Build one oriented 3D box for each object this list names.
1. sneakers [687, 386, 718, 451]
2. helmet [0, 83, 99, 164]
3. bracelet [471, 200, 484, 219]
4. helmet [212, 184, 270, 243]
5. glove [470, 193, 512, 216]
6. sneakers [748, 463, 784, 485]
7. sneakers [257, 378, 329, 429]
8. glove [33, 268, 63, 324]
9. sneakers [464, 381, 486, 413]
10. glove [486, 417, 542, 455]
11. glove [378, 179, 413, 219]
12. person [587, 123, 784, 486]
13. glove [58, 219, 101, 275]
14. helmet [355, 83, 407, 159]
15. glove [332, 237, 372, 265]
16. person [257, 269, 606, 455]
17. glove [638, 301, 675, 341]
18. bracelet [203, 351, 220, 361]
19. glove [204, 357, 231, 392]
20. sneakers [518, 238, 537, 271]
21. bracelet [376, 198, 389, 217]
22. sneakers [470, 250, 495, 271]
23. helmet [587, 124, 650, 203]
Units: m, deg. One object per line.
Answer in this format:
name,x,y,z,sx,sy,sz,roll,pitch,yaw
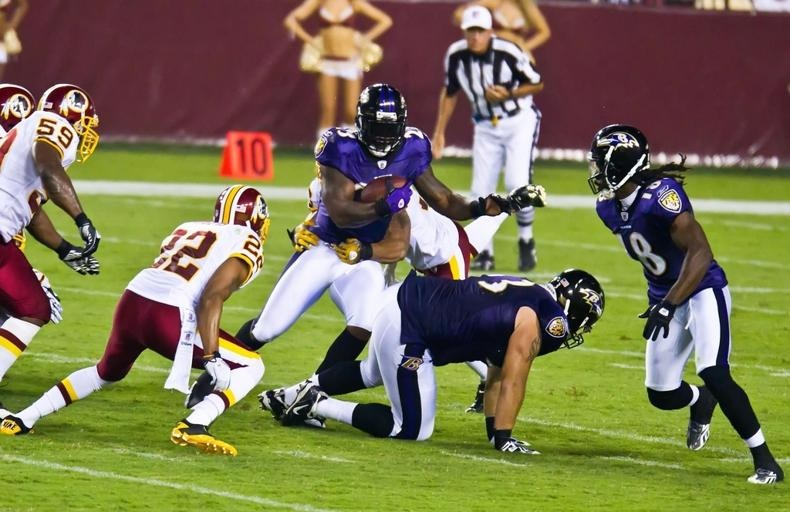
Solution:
sneakers,2.064,1.083,7.482,0.150,0.488,0.196,8,-1,43
helmet,-2.331,-0.915,7.779,0.557,0.622,0.463,16,1,-35
bracelet,0.599,-0.340,8.073,0.111,0.119,0.115,8,12,33
helmet,-0.972,-0.291,7.543,0.284,0.408,0.385,10,12,35
glove,0.683,-0.367,7.992,0.212,0.094,0.161,2,-21,5
sneakers,2.296,1.346,6.909,0.194,0.083,0.103,0,5,-4
sneakers,-0.665,0.986,7.559,0.581,0.300,0.219,12,36,5
glove,-2.548,0.305,8.179,0.121,0.390,0.372,-12,-14,-27
sneakers,0.600,1.030,7.981,0.096,0.191,0.266,6,-5,-28
glove,0.761,1.167,7.288,0.390,0.202,0.218,6,14,16
glove,-0.013,-0.396,7.685,0.229,0.142,0.081,-39,18,-23
person,1.842,0.267,7.232,1.431,2.073,0.804,9,14,29
glove,-2.065,-0.036,7.376,0.151,0.379,0.287,-32,-6,6
helmet,-0.068,-1.012,7.865,0.329,0.406,0.485,0,50,-8
glove,-0.300,-0.030,7.874,0.269,0.170,0.123,1,13,-4
person,0.225,0.555,7.607,1.995,1.259,1.080,1,24,-10
glove,1.650,0.401,6.989,0.195,0.254,0.142,6,13,16
bracelet,-1.136,0.612,6.853,0.068,0.043,0.055,-2,0,22
glove,-1.091,0.720,6.884,0.146,0.208,0.060,-12,8,-24
sneakers,1.364,-0.004,11.525,0.120,0.395,0.253,1,4,13
bracelet,-0.086,-0.330,7.653,0.095,0.095,0.096,-23,-20,40
sneakers,0.845,0.044,10.854,0.193,0.261,0.553,0,-1,3
helmet,1.452,-0.630,7.457,0.441,0.523,0.387,2,-3,8
